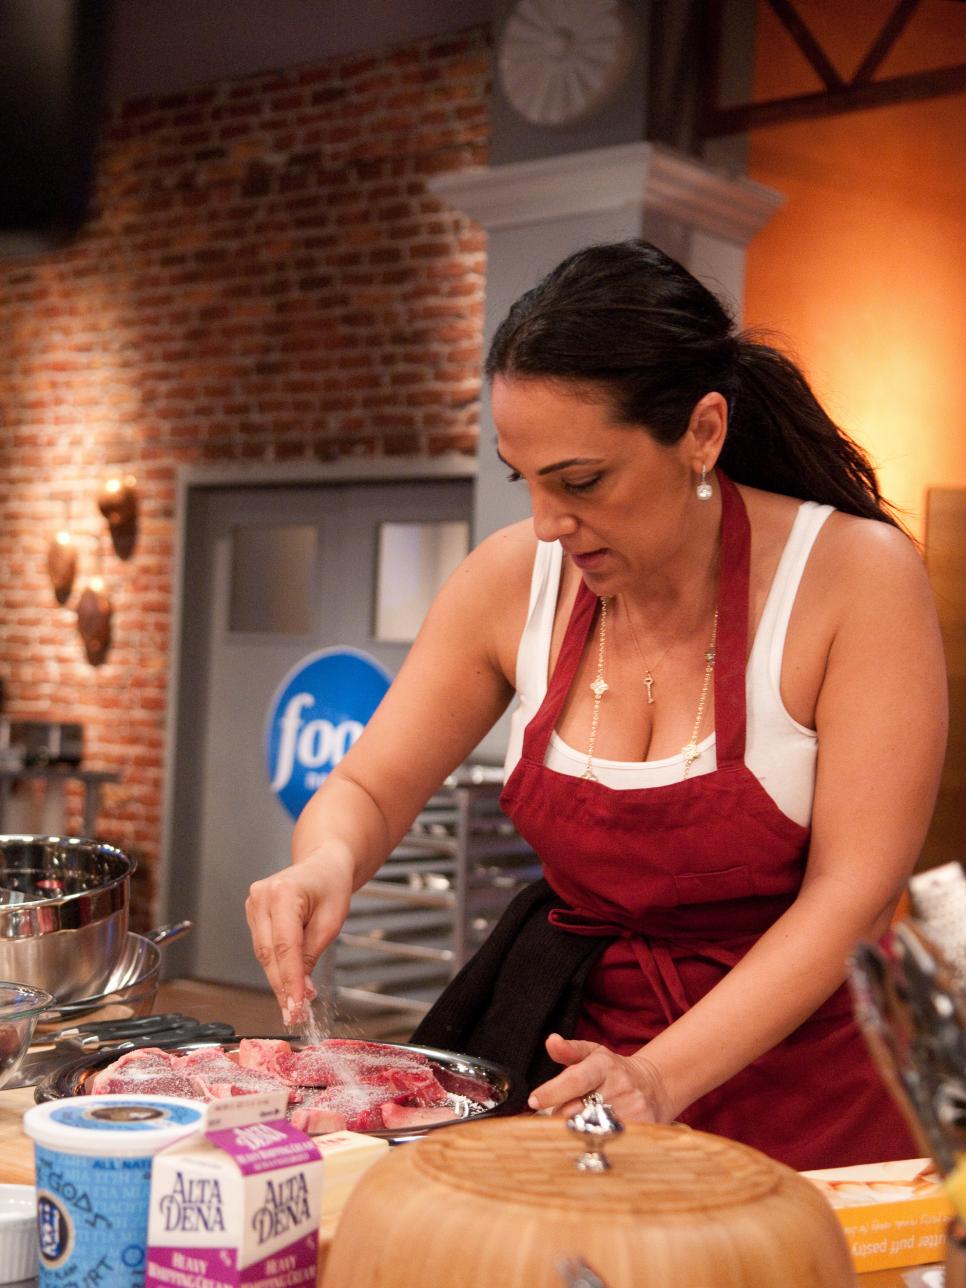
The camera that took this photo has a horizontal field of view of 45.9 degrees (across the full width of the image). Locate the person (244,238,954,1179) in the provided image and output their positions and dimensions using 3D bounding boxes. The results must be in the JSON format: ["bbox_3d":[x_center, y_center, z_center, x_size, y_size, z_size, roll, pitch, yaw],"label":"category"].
[{"bbox_3d":[0.104,0.064,1.175,0.635,0.904,0.562,1,-3,38],"label":"person"}]
